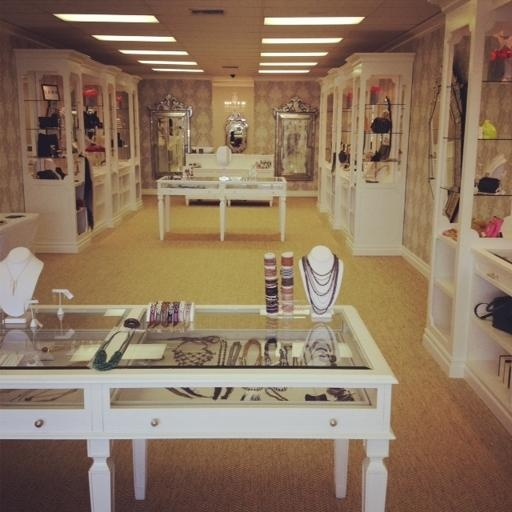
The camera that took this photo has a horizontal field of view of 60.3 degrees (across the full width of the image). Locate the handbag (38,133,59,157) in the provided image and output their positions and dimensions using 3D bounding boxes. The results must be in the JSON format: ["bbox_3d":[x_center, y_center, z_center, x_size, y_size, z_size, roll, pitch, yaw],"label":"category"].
[{"bbox_3d":[-2.993,-1.586,6.309,0.294,0.337,0.154,-6,17,-24],"label":"handbag"}]

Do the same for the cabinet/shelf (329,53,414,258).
[{"bbox_3d":[1.759,-1.490,6.597,0.825,2.813,3.065,0,16,2],"label":"cabinet/shelf"}]

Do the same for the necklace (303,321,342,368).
[{"bbox_3d":[0.222,0.333,1.566,0.076,0.096,0.169,2,2,3],"label":"necklace"}]

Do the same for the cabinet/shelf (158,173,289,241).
[{"bbox_3d":[-0.634,-1.044,8.221,2.159,0.999,2.688,0,16,-4],"label":"cabinet/shelf"}]

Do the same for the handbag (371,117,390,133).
[{"bbox_3d":[1.732,-1.822,6.140,0.254,0.219,0.137,-1,12,0],"label":"handbag"}]

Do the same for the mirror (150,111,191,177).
[{"bbox_3d":[-2.324,-3.007,11.911,1.069,1.753,0.433,-2,16,-9],"label":"mirror"}]

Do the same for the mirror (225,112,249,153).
[{"bbox_3d":[-0.581,-3.474,12.432,0.664,1.073,0.242,6,17,18],"label":"mirror"}]

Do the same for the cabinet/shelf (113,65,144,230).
[{"bbox_3d":[-2.745,-2.406,9.567,0.509,2.846,1.713,-3,16,-12],"label":"cabinet/shelf"}]

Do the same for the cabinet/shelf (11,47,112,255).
[{"bbox_3d":[-2.915,-1.561,6.520,0.723,2.782,3.024,0,18,-4],"label":"cabinet/shelf"}]

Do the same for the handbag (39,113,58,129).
[{"bbox_3d":[-2.975,-1.936,6.325,0.277,0.206,0.346,-8,18,-29],"label":"handbag"}]
